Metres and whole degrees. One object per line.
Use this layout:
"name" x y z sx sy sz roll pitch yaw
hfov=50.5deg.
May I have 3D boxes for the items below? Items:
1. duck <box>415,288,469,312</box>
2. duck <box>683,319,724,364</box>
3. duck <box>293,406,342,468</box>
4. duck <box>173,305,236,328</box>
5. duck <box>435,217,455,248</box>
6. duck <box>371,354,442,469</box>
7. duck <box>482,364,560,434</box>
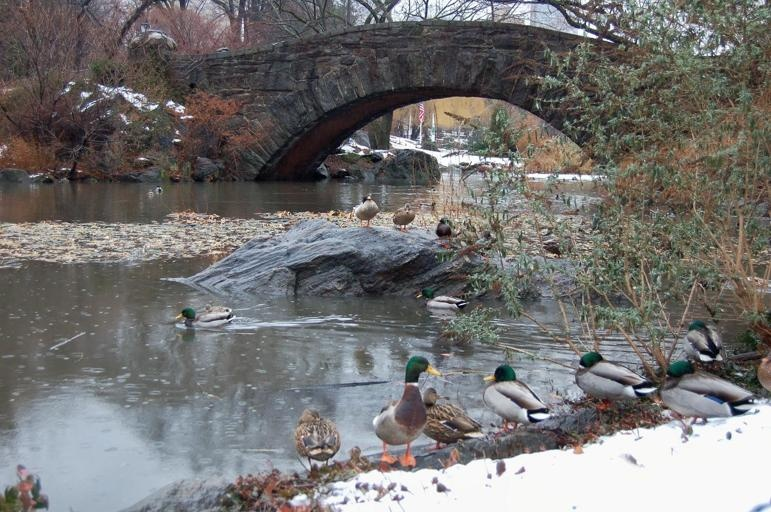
"duck" 0.873 0.678 12.938 0.898 0.360 0.296 9 -2 25
"duck" 3.670 0.965 9.358 0.300 0.347 0.585 -1 14 3
"duck" -0.711 1.916 8.524 0.440 0.553 0.430 1 1 -3
"duck" -2.623 0.875 11.907 0.642 0.348 0.345 0 -3 -7
"duck" 1.018 -0.442 14.238 0.280 0.412 0.550 -5 13 1
"duck" 0.177 1.672 8.684 0.561 1.170 1.221 10 -25 -34
"duck" 1.435 1.539 8.708 0.735 0.662 0.417 2 1 30
